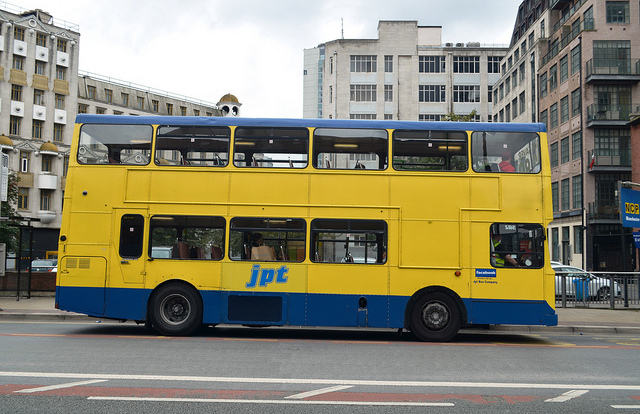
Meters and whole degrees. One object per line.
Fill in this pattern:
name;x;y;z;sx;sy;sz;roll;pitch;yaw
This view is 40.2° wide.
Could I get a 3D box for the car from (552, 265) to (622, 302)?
car;12.792;3.738;42.584;3.563;1.190;1.618;0;-4;-5
